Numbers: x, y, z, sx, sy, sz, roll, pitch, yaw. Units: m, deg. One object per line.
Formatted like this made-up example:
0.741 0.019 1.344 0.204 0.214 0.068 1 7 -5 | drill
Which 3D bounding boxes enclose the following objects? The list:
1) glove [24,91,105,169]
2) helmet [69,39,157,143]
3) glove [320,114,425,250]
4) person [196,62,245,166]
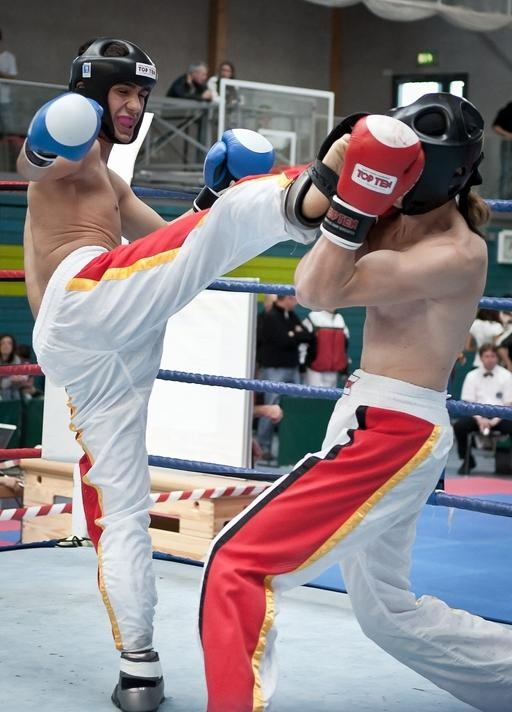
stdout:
-0.394 -0.486 1.836 0.222 0.149 0.137 -6 17 9 | glove
-0.374 -0.696 2.162 0.221 0.214 0.203 17 13 30 | helmet
0.217 -0.320 1.569 0.185 0.222 0.147 12 33 -20 | glove
-0.290 -2.905 9.503 0.322 0.826 0.370 33 39 32 | person
